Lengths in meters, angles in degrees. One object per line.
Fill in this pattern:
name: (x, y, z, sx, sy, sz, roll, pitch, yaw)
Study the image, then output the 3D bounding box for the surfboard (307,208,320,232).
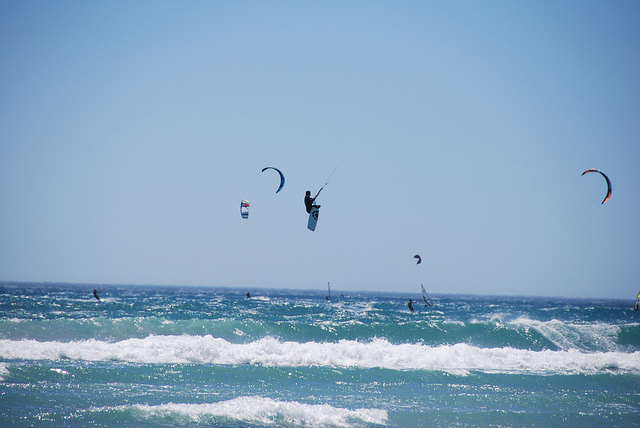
surfboard: (-0.275, 0.205, 35.226, 0.477, 1.143, 0.257, 11, -4, -2)
